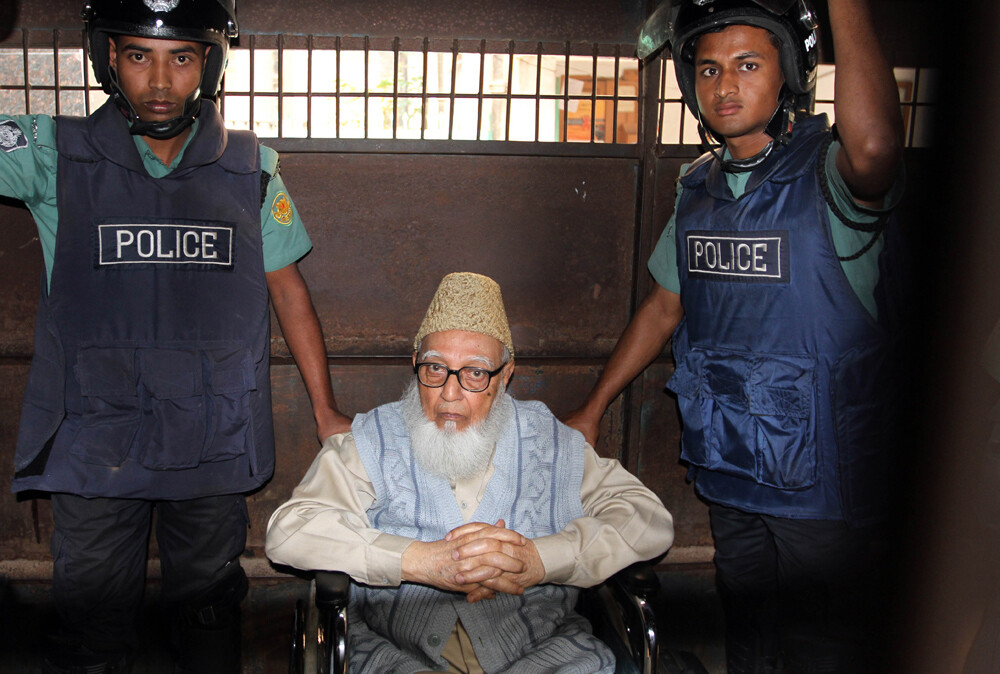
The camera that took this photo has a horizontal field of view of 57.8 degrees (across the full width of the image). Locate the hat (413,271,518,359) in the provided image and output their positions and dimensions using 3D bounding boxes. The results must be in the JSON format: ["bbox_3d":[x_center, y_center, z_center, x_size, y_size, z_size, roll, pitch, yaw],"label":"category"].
[{"bbox_3d":[-0.148,-0.084,3.998,0.369,0.278,0.372,2,-3,33],"label":"hat"}]
